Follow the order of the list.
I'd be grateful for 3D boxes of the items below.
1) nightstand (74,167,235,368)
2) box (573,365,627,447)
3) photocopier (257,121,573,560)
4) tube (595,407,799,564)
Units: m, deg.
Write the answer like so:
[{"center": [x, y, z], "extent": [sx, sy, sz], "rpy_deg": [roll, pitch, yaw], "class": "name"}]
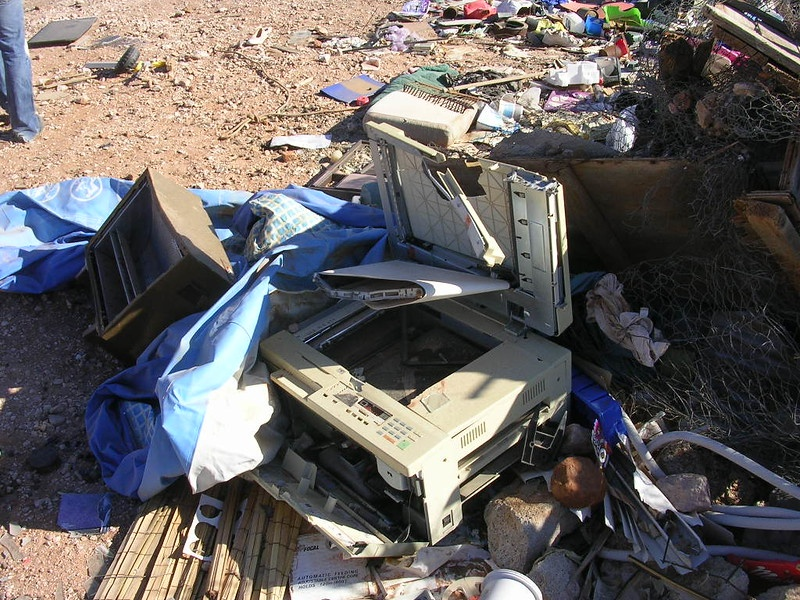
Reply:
[{"center": [-1.607, -0.176, 4.013], "extent": [0.690, 0.881, 1.182], "rpy_deg": [32, 28, -29], "class": "nightstand"}, {"center": [1.004, 0.541, 3.131], "extent": [0.105, 0.099, 0.419], "rpy_deg": [-26, 31, 0], "class": "box"}, {"center": [-0.005, 0.149, 3.043], "extent": [1.460, 1.508, 1.646], "rpy_deg": [14, 40, 31], "class": "photocopier"}, {"center": [1.388, 0.901, 2.808], "extent": [0.795, 0.591, 0.549], "rpy_deg": [19, 38, 9], "class": "tube"}]
